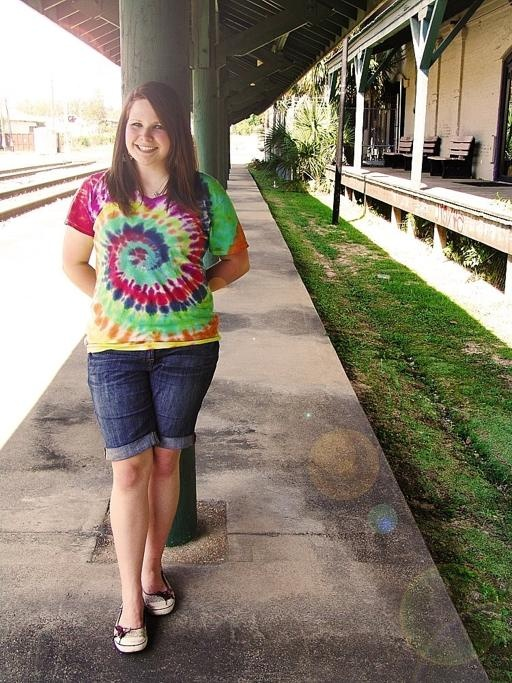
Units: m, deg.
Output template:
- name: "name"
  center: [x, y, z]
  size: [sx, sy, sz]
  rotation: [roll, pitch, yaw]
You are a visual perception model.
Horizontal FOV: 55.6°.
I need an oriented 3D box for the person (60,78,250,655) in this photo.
- name: "person"
  center: [-0.303, 0.078, 1.227]
  size: [0.405, 1.399, 0.284]
  rotation: [0, 9, -5]
